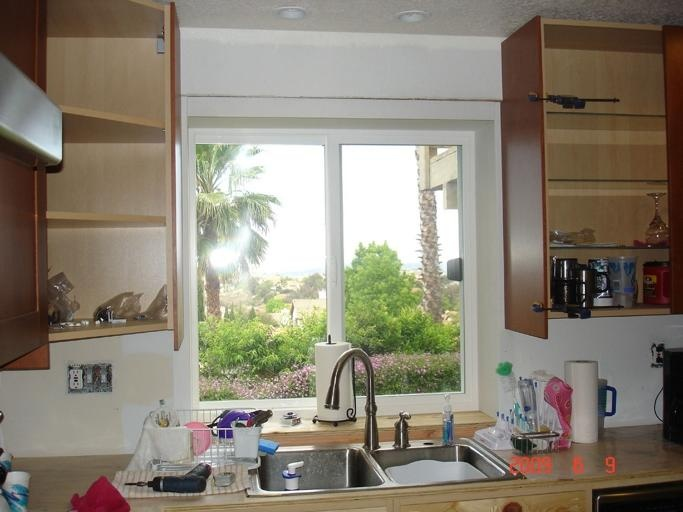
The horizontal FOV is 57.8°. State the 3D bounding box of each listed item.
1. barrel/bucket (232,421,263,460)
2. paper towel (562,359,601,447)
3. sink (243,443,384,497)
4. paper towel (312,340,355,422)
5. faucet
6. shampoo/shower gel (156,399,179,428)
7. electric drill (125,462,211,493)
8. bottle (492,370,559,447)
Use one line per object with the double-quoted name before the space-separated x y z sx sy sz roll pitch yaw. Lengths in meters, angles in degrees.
"barrel/bucket" -0.401 0.792 2.630 0.111 0.153 0.097 -2 -3 -13
"paper towel" 1.123 0.680 2.869 0.136 0.377 0.062 -4 -3 21
"sink" -0.095 0.944 2.664 0.354 0.161 0.237 0 7 -7
"paper towel" -0.037 0.621 3.015 0.168 0.402 0.175 2 6 -13
"faucet" 0.052 0.645 2.731 0.291 0.446 0.095 2 -3 -34
"shampoo/shower gel" -0.749 0.678 2.656 0.090 0.116 0.111 -2 -3 -16
"electric drill" -0.690 0.892 2.442 0.323 0.083 0.140 -4 -3 -1
"bottle" 0.816 0.674 2.898 0.254 0.361 0.356 -2 -3 -14
